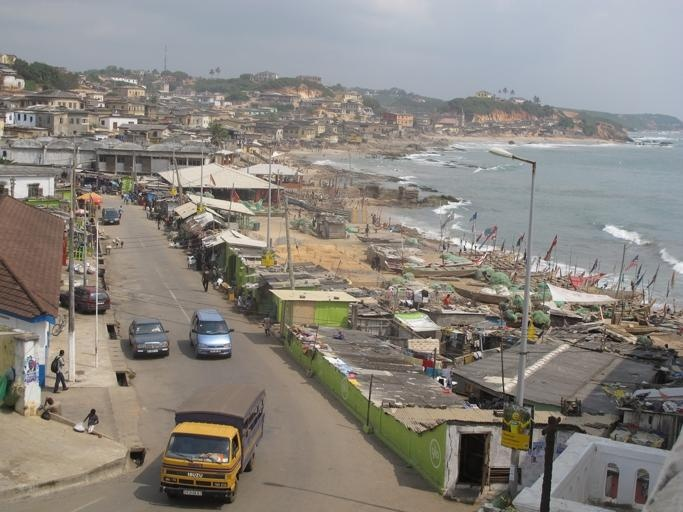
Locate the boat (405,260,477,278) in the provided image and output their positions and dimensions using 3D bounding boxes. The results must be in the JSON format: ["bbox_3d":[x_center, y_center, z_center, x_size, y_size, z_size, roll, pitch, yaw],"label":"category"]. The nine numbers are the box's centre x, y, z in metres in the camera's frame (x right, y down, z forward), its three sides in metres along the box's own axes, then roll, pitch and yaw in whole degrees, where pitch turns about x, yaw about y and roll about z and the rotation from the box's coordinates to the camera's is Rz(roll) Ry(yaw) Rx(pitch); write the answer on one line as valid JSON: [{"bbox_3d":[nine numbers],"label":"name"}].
[{"bbox_3d":[8.457,1.178,60.746,6.826,0.972,2.222,0,11,-26],"label":"boat"}]

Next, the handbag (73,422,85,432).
[{"bbox_3d":[-8.705,5.639,24.172,0.352,0.174,0.474,2,10,-21],"label":"handbag"}]

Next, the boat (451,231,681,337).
[{"bbox_3d":[18.513,2.142,60.037,11.367,4.014,7.815,-2,11,-17],"label":"boat"}]

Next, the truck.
[{"bbox_3d":[-3.878,5.596,22.608,2.173,2.290,4.825,3,6,6],"label":"truck"}]

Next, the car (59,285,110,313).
[{"bbox_3d":[-13.671,2.362,38.950,2.463,1.179,1.337,8,10,16],"label":"car"}]

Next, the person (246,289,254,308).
[{"bbox_3d":[-5.535,2.518,43.556,0.439,0.886,0.899,2,10,-15],"label":"person"}]

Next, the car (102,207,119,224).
[{"bbox_3d":[-21.644,-3.670,67.932,1.139,0.930,2.297,-2,2,-24],"label":"car"}]

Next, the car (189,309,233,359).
[{"bbox_3d":[-6.336,3.620,34.991,1.769,1.631,3.548,1,9,-19],"label":"car"}]

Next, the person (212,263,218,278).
[{"bbox_3d":[-8.824,0.968,51.073,0.359,0.775,1.727,3,10,-12],"label":"person"}]

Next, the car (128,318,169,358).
[{"bbox_3d":[-8.904,3.855,33.681,1.525,1.376,1.985,1,11,-24],"label":"car"}]

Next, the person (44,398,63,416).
[{"bbox_3d":[-9.917,5.140,24.764,0.537,0.557,0.815,4,10,-8],"label":"person"}]
